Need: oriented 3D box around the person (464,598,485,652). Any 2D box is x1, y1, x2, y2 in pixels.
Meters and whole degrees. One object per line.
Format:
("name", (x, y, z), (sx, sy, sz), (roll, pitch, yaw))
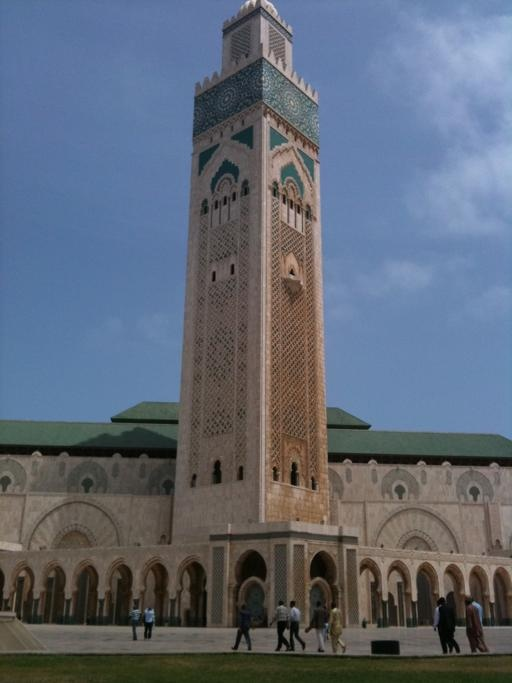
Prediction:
("person", (2.644, 3.421, 8.138), (0.219, 0.617, 1.023), (-6, -21, 15))
